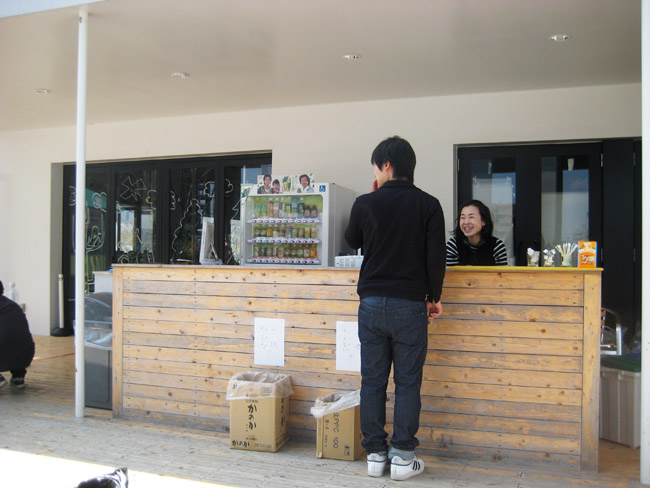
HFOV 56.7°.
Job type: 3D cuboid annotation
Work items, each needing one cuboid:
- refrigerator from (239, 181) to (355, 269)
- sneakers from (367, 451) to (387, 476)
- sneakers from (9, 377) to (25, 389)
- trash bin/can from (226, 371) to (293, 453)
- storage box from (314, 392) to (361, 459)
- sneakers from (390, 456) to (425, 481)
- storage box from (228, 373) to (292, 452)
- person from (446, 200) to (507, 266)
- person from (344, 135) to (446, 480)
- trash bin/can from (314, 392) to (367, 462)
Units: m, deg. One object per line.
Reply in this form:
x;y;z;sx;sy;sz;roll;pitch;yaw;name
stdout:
-0.410;-0.185;7.597;1.131;0.976;0.668;1;7;13;refrigerator
0.379;1.625;4.473;0.084;0.107;0.242;0;1;15;sneakers
-3.233;1.468;6.388;0.070;0.084;0.176;0;4;-36;sneakers
-0.534;1.398;5.031;0.515;0.557;0.538;-7;-10;35;trash bin/can
0.124;1.442;4.880;0.373;0.504;0.419;-2;-9;15;storage box
0.590;1.646;4.413;0.106;0.153;0.323;0;1;35;sneakers
-0.528;1.399;5.020;0.642;0.548;0.659;-1;-8;0;storage box
1.488;-0.100;5.845;0.635;0.867;0.462;-4;-7;41;person
0.505;0.459;4.485;0.740;2.499;0.424;1;5;10;person
0.127;1.439;4.861;0.437;0.495;0.444;-5;-11;37;trash bin/can
